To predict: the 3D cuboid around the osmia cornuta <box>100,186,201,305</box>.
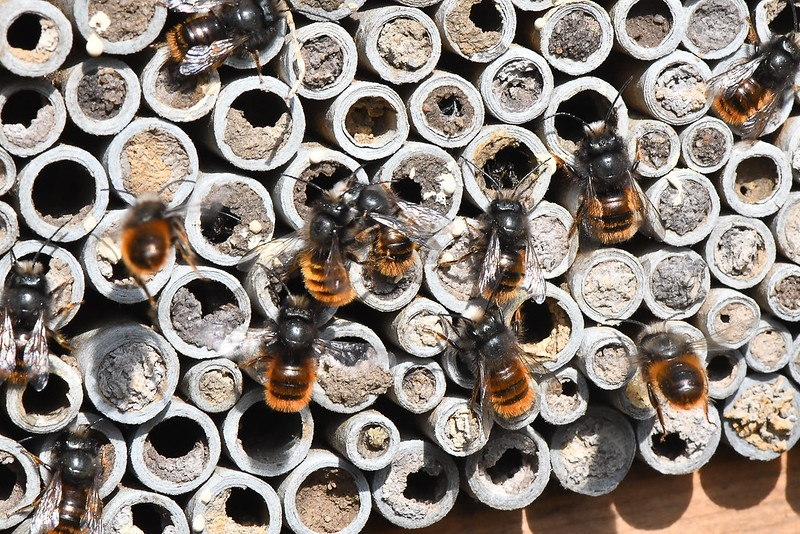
[{"bbox_3d":[-1.034,-0.122,4.608,0.460,0.440,0.226,-31,-40,20],"label":"osmia cornuta"}]
